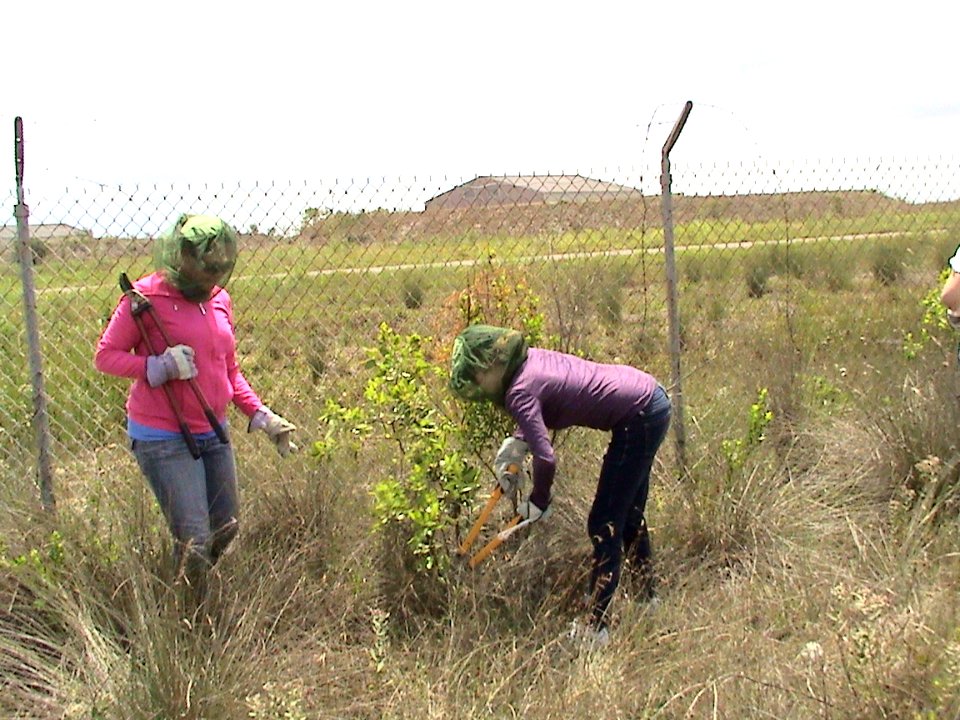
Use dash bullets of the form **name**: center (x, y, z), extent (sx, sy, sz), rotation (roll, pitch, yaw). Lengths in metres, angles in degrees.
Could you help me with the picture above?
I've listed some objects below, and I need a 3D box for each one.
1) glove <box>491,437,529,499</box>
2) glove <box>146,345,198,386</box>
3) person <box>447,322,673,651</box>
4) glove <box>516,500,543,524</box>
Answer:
- **glove**: center (0.172, 0.582, 4.839), extent (0.106, 0.205, 0.293), rotation (19, 55, -14)
- **glove**: center (-1.588, 0.028, 4.516), extent (0.203, 0.217, 0.099), rotation (-6, -2, -8)
- **person**: center (0.489, 0.688, 5.031), extent (1.158, 1.873, 0.709), rotation (-4, 19, 2)
- **glove**: center (0.269, 0.828, 4.764), extent (0.096, 0.105, 0.148), rotation (21, -1, 6)
